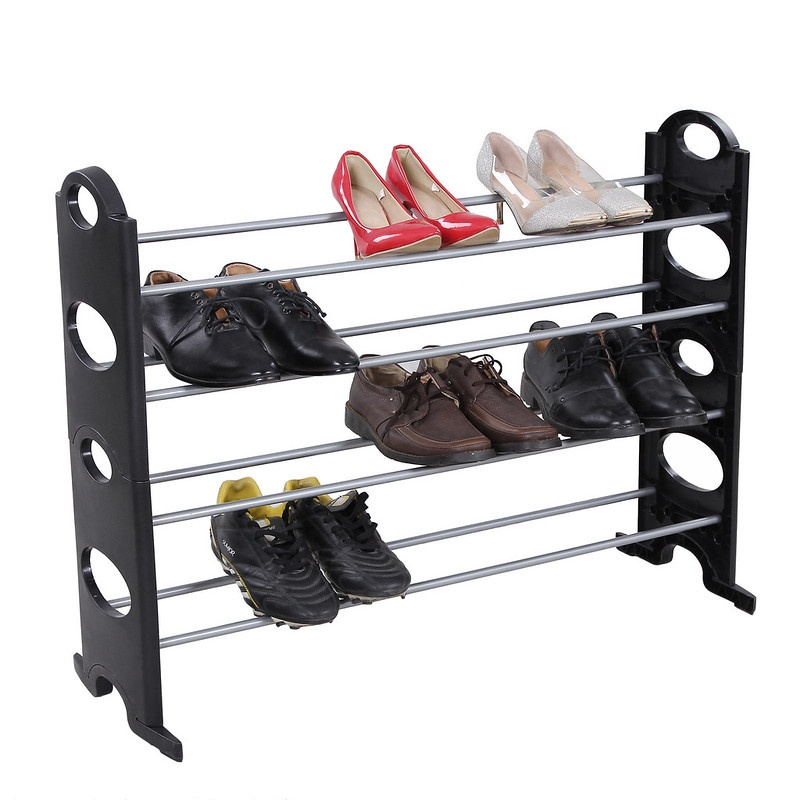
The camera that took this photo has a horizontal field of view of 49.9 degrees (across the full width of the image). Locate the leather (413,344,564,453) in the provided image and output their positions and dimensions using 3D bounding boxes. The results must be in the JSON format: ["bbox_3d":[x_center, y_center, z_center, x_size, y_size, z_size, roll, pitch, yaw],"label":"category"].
[{"bbox_3d":[0.182,-0.041,1.866,0.402,0.142,0.144,27,35,31],"label":"leather"}]

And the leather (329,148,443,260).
[{"bbox_3d":[-0.047,-0.366,1.649,0.147,0.096,0.272,-16,47,-24],"label":"leather"}]

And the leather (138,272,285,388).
[{"bbox_3d":[-0.355,-0.113,1.575,0.186,0.197,0.219,-11,-1,-21],"label":"leather"}]

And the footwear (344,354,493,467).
[{"bbox_3d":[0.030,0.016,1.842,0.201,0.168,0.448,-9,21,-28],"label":"footwear"}]

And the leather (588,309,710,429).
[{"bbox_3d":[0.570,-0.085,2.019,0.170,0.170,0.470,-11,23,-7],"label":"leather"}]

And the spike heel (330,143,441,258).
[{"bbox_3d":[-0.049,-0.366,1.648,0.150,0.101,0.281,-16,45,-27],"label":"spike heel"}]

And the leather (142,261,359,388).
[{"bbox_3d":[-0.283,-0.122,1.567,0.296,0.131,0.380,-16,29,-38],"label":"leather"}]

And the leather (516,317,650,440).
[{"bbox_3d":[0.398,-0.054,1.974,0.198,0.188,0.469,-9,21,-6],"label":"leather"}]

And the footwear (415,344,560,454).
[{"bbox_3d":[0.170,-0.023,1.893,0.151,0.150,0.415,-19,34,-37],"label":"footwear"}]

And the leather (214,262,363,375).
[{"bbox_3d":[-0.215,-0.130,1.523,0.327,0.106,0.112,30,36,31],"label":"leather"}]

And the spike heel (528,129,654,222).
[{"bbox_3d":[0.395,-0.470,1.830,0.131,0.110,0.328,-13,40,-30],"label":"spike heel"}]

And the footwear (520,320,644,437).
[{"bbox_3d":[0.403,-0.057,1.972,0.188,0.188,0.464,-10,22,-5],"label":"footwear"}]

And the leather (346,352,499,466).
[{"bbox_3d":[0.032,0.019,1.847,0.206,0.160,0.455,-10,21,-29],"label":"leather"}]
